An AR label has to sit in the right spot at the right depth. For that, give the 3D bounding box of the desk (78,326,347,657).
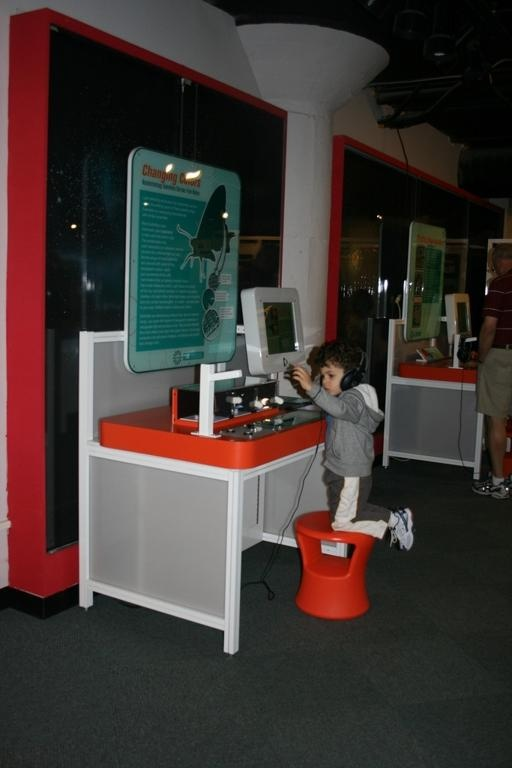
[{"bbox_3d":[-0.181,0.359,2.497,0.666,1.040,1.039,5,4,23],"label":"desk"}]

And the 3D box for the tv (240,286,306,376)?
[{"bbox_3d":[0.061,-0.203,2.292,0.060,0.334,0.392,-4,8,27],"label":"tv"}]

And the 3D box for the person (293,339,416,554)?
[{"bbox_3d":[0.399,0.246,2.304,0.464,0.795,0.454,1,-1,13],"label":"person"}]

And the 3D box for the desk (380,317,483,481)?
[{"bbox_3d":[1.531,0.008,4.765,0.647,1.150,0.845,4,9,31],"label":"desk"}]

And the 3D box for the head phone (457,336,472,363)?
[{"bbox_3d":[1.544,-0.253,4.354,0.071,0.177,0.188,2,8,22],"label":"head phone"}]

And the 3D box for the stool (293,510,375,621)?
[{"bbox_3d":[0.311,0.742,2.353,0.281,0.336,0.301,-1,-9,34],"label":"stool"}]
